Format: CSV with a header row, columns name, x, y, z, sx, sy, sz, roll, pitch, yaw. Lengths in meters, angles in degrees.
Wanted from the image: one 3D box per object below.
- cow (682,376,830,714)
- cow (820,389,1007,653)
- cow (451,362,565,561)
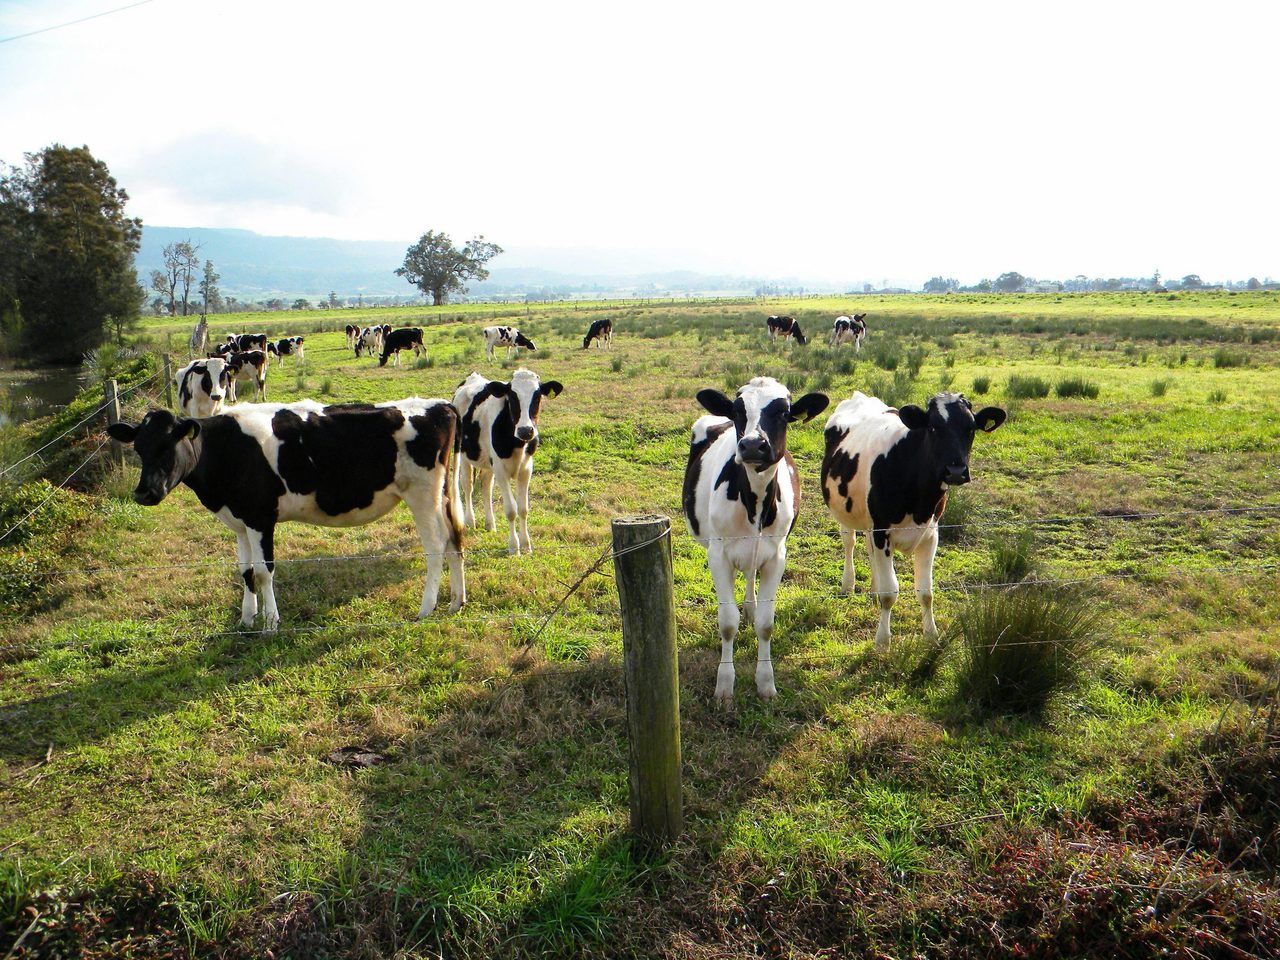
name,x,y,z,sx,sy,sz,roll,pitch,yaw
cow,1.072,0.435,10.503,1.189,3.045,1.989,2,11,2
cow,2.811,0.276,11.178,0.835,2.635,2.339,-1,11,-11
cow,-1.942,-0.451,14.307,1.241,2.295,2.732,-1,12,-11
